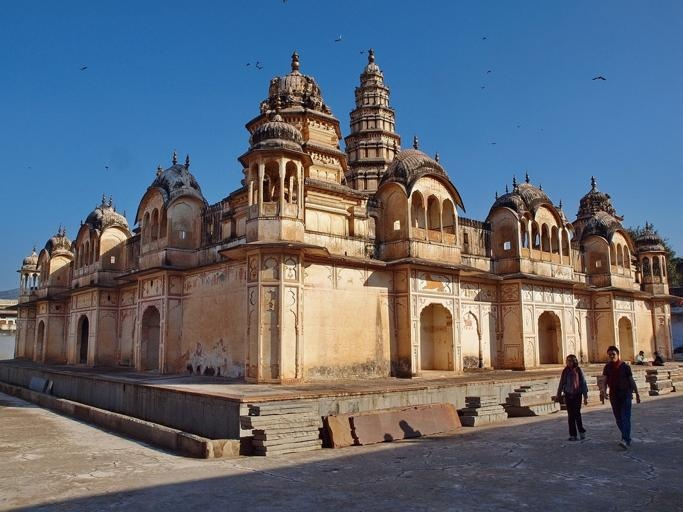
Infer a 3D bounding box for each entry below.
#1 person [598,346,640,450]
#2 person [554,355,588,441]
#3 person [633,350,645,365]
[{"bbox_3d":[5.201,2.586,10.522,0.533,1.803,1.157,-8,-15,25],"label":"person"},{"bbox_3d":[4.449,2.727,10.935,0.535,1.605,0.964,-7,-14,20],"label":"person"},{"bbox_3d":[14.066,4.882,26.856,0.486,0.763,0.307,1,-6,-26],"label":"person"}]
